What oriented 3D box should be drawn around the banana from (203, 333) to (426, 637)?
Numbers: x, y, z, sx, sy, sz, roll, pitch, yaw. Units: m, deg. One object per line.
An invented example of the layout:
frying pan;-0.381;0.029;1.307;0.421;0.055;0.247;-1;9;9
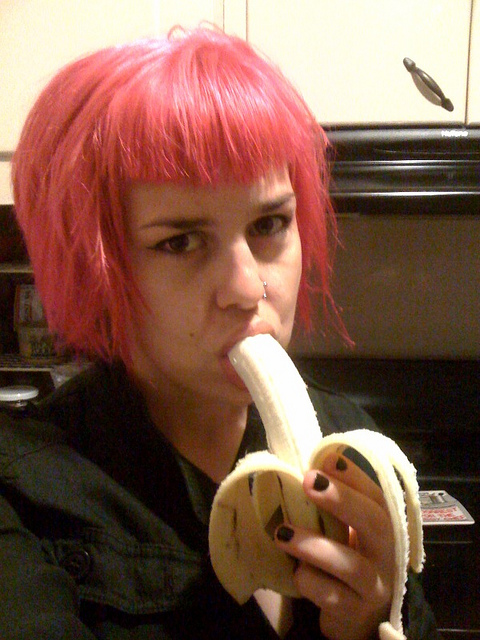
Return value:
banana;0.050;0.144;0.540;0.172;0.242;0.205;-5;0;7
